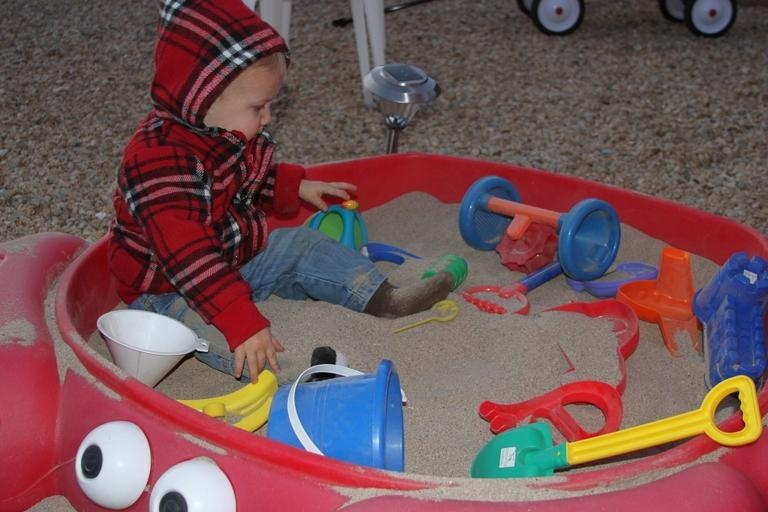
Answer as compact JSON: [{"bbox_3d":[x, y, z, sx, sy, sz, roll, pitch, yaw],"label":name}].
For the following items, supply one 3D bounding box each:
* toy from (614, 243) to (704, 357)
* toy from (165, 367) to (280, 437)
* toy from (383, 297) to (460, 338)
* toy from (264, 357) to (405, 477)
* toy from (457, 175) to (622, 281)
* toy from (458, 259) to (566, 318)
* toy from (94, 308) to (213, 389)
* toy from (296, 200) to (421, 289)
[{"bbox_3d":[0.860,0.134,2.141,0.223,0.124,0.343,-6,32,9],"label":"toy"},{"bbox_3d":[-0.402,0.416,1.860,0.254,0.146,0.138,-5,26,-22],"label":"toy"},{"bbox_3d":[0.124,0.191,2.134,0.212,0.023,0.087,-18,41,-9],"label":"toy"},{"bbox_3d":[-0.117,0.353,1.716,0.258,0.300,0.307,0,5,-2],"label":"toy"},{"bbox_3d":[0.518,-0.104,2.404,0.477,0.275,0.282,19,12,42],"label":"toy"},{"bbox_3d":[0.452,0.100,2.243,0.390,0.091,0.207,-9,27,-31],"label":"toy"},{"bbox_3d":[-0.657,0.190,1.884,0.247,0.160,0.268,33,17,28],"label":"toy"},{"bbox_3d":[-0.062,-0.069,2.491,0.446,0.208,0.313,5,10,10],"label":"toy"}]
